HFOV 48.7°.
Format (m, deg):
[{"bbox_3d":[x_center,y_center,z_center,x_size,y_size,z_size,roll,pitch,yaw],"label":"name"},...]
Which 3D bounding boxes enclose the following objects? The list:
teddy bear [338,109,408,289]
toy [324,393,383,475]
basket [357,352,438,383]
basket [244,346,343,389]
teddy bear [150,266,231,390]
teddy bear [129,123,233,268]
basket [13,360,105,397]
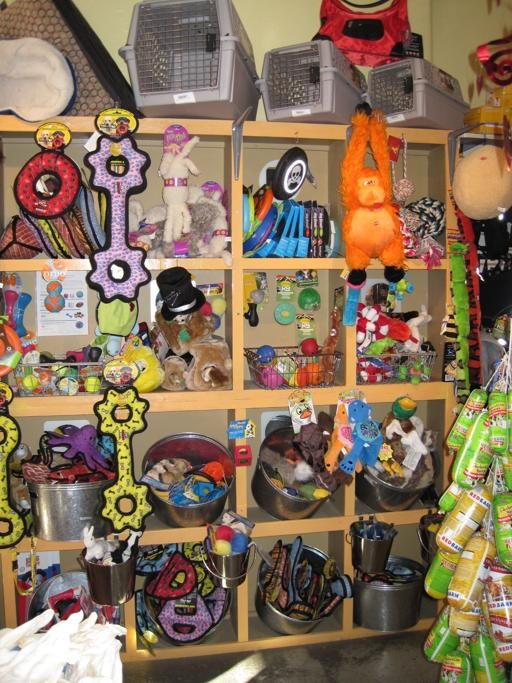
[{"bbox_3d":[0.368,-0.437,1.750,0.200,0.554,0.239,3,7,13],"label":"teddy bear"},{"bbox_3d":[0.333,0.314,1.963,0.227,0.263,0.131,-3,5,-10],"label":"toy"},{"bbox_3d":[0.503,0.091,2.031,0.220,0.074,0.137,-2,-1,-10],"label":"basket"},{"bbox_3d":[0.125,0.096,1.934,0.173,0.096,0.256,-1,6,-3],"label":"basket"},{"bbox_3d":[-0.233,-0.021,1.980,0.308,0.370,0.282,0,6,12],"label":"teddy bear"},{"bbox_3d":[-0.249,-0.476,1.853,0.327,0.419,0.187,0,7,-12],"label":"teddy bear"},{"bbox_3d":[-0.627,0.119,1.786,0.210,0.074,0.129,-2,-2,-8],"label":"basket"}]
